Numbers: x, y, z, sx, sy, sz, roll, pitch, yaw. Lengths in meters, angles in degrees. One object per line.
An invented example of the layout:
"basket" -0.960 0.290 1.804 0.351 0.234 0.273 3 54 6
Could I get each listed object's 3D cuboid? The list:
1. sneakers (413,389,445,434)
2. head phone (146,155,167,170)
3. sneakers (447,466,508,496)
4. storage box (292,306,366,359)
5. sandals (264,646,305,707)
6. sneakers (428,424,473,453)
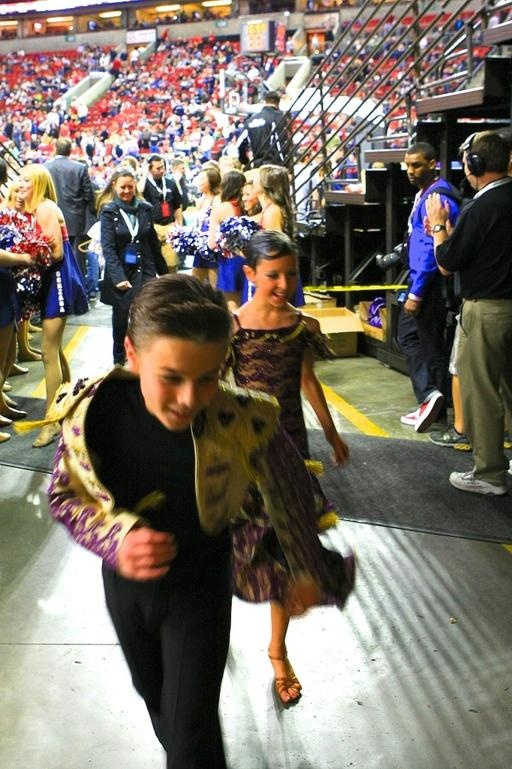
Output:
"sneakers" 1.449 0.221 4.707 0.165 0.424 0.167 20 4 -43
"head phone" -1.480 -3.274 8.263 0.201 0.254 0.237 5 41 -22
"sneakers" 1.457 0.651 3.681 0.356 0.163 0.130 13 12 19
"storage box" 0.967 -0.733 7.367 0.969 0.592 1.020 0 12 -5
"sandals" 0.098 0.986 1.938 0.083 0.055 0.216 -10 21 -11
"sneakers" 1.607 0.437 4.607 0.331 0.150 0.137 13 14 28
